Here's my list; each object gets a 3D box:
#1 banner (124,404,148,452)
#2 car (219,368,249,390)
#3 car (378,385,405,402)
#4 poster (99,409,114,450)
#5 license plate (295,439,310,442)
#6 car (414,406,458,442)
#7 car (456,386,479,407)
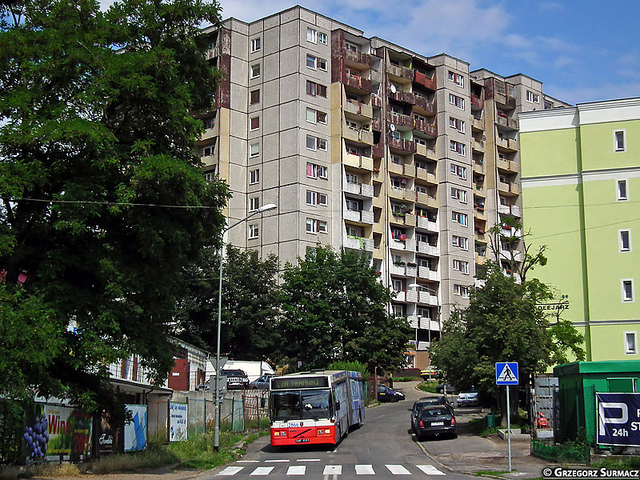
[{"bbox_3d":[-8.249,8.621,33.051,0.122,2.110,3.227,4,-14,-32],"label":"banner"},{"bbox_3d":[-6.848,11.467,59.777,2.075,1.440,1.882,-2,-6,7],"label":"car"},{"bbox_3d":[6.229,13.728,64.823,1.869,1.008,1.316,-3,-6,3],"label":"car"},{"bbox_3d":[-8.683,7.885,29.969,0.122,1.989,1.868,3,-12,-36],"label":"poster"},{"bbox_3d":[-0.857,9.646,34.838,0.654,0.136,0.052,-2,-5,1],"label":"license plate"},{"bbox_3d":[6.102,9.795,38.799,2.042,1.557,1.082,-1,-6,-6],"label":"car"},{"bbox_3d":[11.921,13.015,59.559,1.663,1.327,1.134,-2,-6,1],"label":"car"}]
